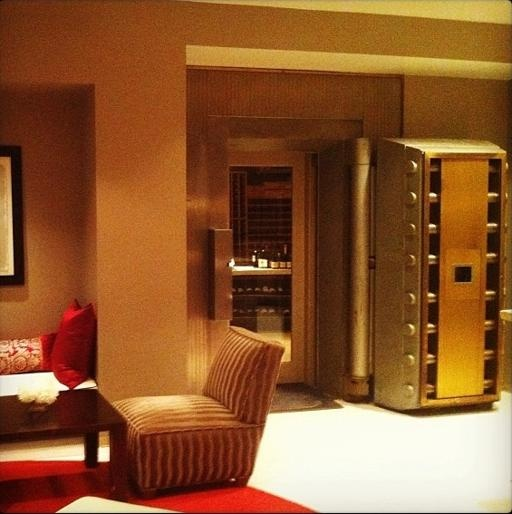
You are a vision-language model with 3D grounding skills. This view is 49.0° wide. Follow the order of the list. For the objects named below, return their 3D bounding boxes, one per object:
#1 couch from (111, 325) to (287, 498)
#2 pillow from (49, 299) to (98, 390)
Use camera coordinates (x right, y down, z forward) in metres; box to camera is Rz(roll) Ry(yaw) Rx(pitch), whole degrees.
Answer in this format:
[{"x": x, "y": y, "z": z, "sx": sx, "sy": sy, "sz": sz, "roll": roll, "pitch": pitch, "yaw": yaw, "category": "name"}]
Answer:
[{"x": -0.374, "y": 0.857, "z": 3.296, "sx": 0.959, "sy": 0.769, "sz": 1.021, "roll": 0, "pitch": -3, "yaw": 30, "category": "couch"}, {"x": -1.266, "y": 0.583, "z": 3.942, "sx": 0.293, "sy": 0.568, "sz": 0.526, "roll": -3, "pitch": 10, "yaw": -22, "category": "pillow"}]
